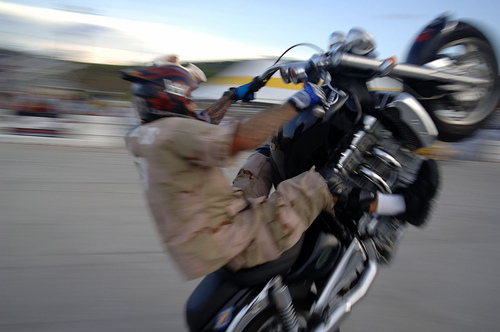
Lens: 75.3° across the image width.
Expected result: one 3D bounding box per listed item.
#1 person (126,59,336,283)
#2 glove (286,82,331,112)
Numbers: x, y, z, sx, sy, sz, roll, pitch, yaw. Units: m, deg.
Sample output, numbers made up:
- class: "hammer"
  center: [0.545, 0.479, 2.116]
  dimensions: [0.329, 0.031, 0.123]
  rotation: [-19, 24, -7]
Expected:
- class: "person"
  center: [-0.155, -0.047, 2.017]
  dimensions: [1.039, 1.249, 0.991]
  rotation: [-27, 11, -28]
- class: "glove"
  center: [0.351, -0.385, 1.876]
  dimensions: [0.154, 0.190, 0.357]
  rotation: [30, 24, 25]
